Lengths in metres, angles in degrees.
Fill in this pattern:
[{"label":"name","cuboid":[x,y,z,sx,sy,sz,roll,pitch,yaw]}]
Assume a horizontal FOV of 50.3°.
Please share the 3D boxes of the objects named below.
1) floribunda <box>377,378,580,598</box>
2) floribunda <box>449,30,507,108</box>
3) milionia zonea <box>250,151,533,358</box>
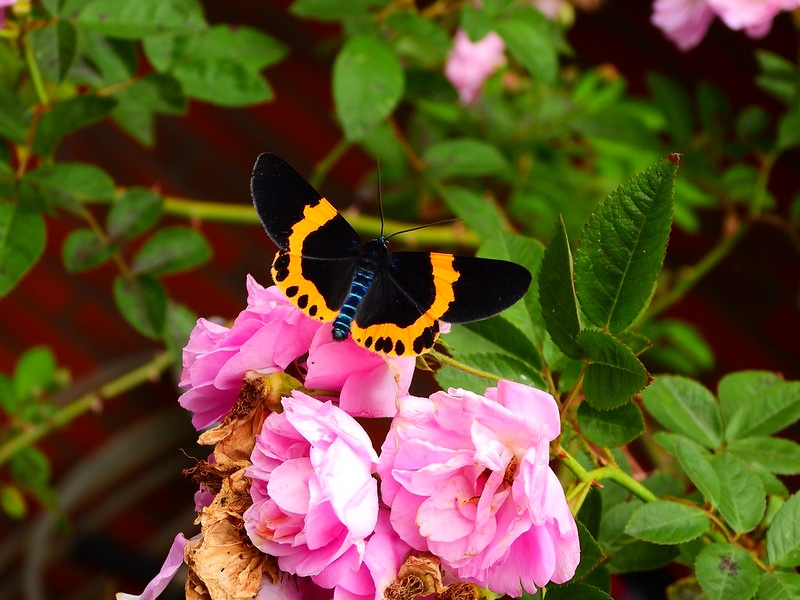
[{"label":"floribunda","cuboid":[0.080,0.178,0.911,0.210,0.235,0.112,-8,4,19]},{"label":"floribunda","cuboid":[0.129,-0.404,1.459,0.046,0.139,0.169,31,41,21]},{"label":"milionia zonea","cuboid":[-0.029,-0.050,1.108,0.336,0.250,0.386,-3,22,-2]}]
